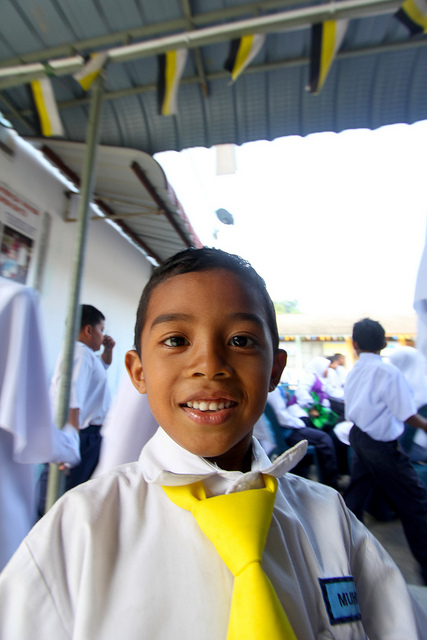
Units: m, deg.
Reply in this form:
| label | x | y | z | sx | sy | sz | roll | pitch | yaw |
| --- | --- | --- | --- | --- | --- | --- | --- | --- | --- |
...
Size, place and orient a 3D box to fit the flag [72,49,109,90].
| label | x | y | z | sx | sy | sz | roll | pitch | yaw |
| --- | --- | --- | --- | --- | --- | --- | --- | --- | --- |
| flag | -0.411 | -0.873 | 1.529 | 0.032 | 0.118 | 0.117 | 41 | 21 | -26 |

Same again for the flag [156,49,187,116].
| label | x | y | z | sx | sy | sz | roll | pitch | yaw |
| --- | --- | --- | --- | --- | --- | --- | --- | --- | --- |
| flag | -0.146 | -0.905 | 1.653 | 0.090 | 0.292 | 0.068 | -4 | -13 | 20 |

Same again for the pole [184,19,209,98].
| label | x | y | z | sx | sy | sz | roll | pitch | yaw |
| --- | --- | --- | --- | --- | --- | --- | --- | --- | --- |
| pole | -0.061 | -1.073 | 1.806 | 0.038 | 0.036 | 0.253 | 10 | -28 | 24 |
